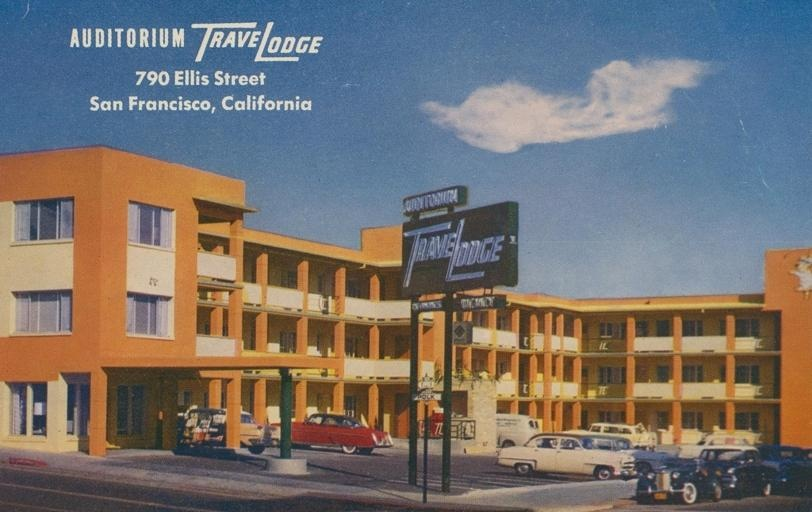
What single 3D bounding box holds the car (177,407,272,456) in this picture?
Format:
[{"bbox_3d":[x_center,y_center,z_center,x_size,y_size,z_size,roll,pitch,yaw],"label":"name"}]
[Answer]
[{"bbox_3d":[-11.685,10.858,99.808,5.340,2.168,2.845,2,-5,-37],"label":"car"}]
